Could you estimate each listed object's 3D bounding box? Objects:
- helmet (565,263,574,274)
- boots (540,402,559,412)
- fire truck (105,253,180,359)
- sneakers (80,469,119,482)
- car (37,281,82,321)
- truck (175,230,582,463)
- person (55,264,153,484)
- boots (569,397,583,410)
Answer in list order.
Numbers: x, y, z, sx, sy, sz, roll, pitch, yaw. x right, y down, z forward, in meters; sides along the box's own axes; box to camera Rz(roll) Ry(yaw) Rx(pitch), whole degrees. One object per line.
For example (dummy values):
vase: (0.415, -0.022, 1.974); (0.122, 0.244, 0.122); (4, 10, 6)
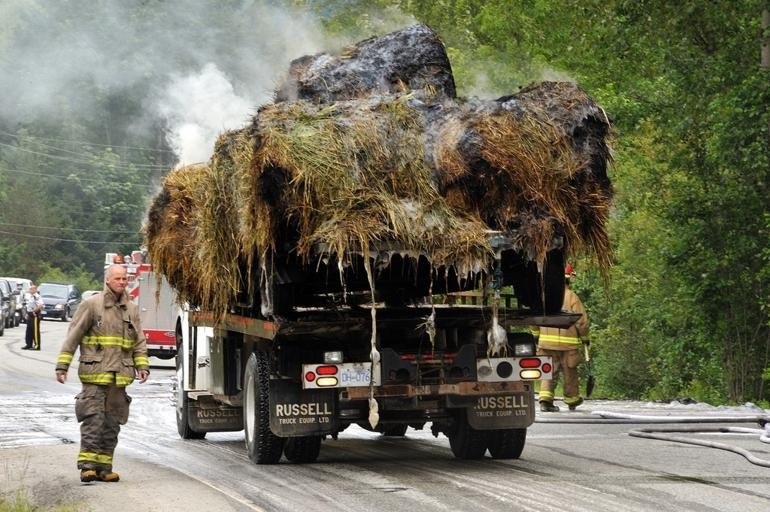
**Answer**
helmet: (2.887, 0.191, 17.698); (0.108, 0.147, 0.216); (-3, -5, 1)
boots: (3.011, 2.782, 20.776); (0.138, 0.177, 0.418); (0, 4, 27)
fire truck: (-5.995, 1.284, 27.479); (2.266, 2.495, 3.994); (0, 0, -11)
sneakers: (-3.781, 2.915, 14.881); (0.523, 0.243, 0.194); (-1, 1, -15)
car: (-13.145, 1.810, 44.899); (1.445, 1.295, 3.067); (0, -7, 0)
truck: (-0.441, 1.267, 17.152); (3.260, 2.297, 5.083); (1, 0, -23)
person: (-3.797, 1.558, 15.109); (1.163, 2.921, 0.440); (-3, -4, -16)
boots: (3.575, 2.763, 21.107); (0.144, 0.187, 0.434); (4, 13, 24)
